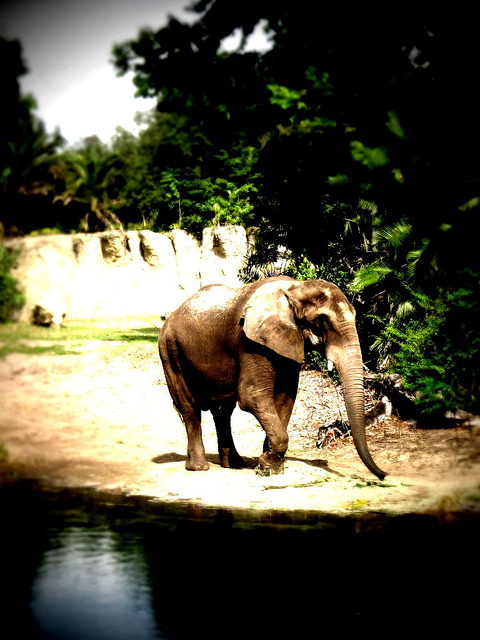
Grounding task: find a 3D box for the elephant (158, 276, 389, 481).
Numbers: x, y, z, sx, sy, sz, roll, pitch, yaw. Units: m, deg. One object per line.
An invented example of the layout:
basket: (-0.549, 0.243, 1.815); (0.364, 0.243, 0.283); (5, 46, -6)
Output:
elephant: (0.351, 0.665, 7.947); (1.461, 2.043, 3.186); (7, -10, -42)
